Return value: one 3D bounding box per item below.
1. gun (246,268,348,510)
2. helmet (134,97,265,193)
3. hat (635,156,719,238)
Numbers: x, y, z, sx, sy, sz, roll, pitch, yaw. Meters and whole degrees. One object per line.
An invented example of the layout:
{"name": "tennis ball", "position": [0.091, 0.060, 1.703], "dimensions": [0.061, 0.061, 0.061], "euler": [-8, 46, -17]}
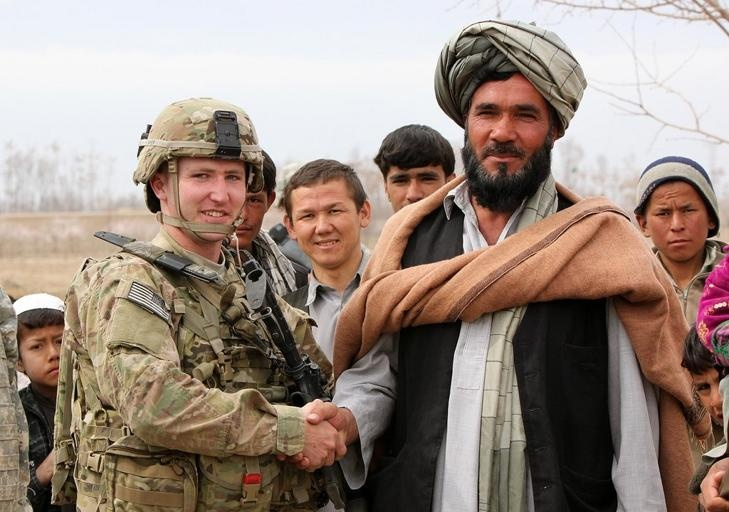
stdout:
{"name": "gun", "position": [-0.364, 0.773, 4.669], "dimensions": [0.178, 1.265, 0.470], "euler": [-24, -2, 27]}
{"name": "helmet", "position": [-0.876, -0.614, 4.634], "dimensions": [0.681, 0.449, 0.335], "euler": [2, -9, -15]}
{"name": "hat", "position": [2.086, -0.357, 5.756], "dimensions": [0.468, 0.459, 0.609], "euler": [-6, -44, 15]}
